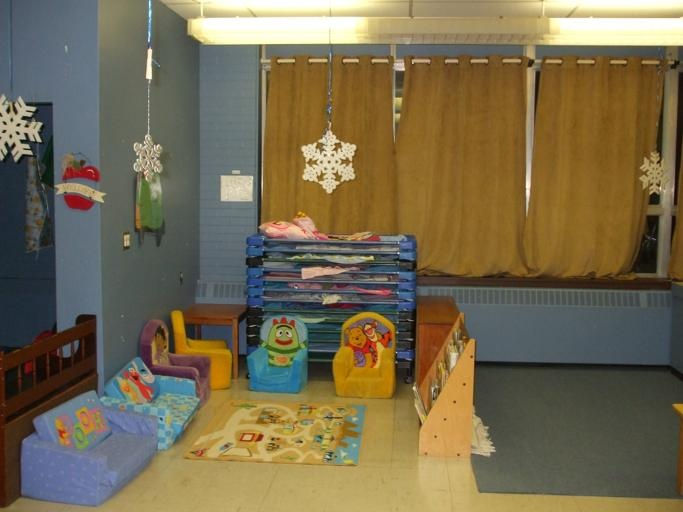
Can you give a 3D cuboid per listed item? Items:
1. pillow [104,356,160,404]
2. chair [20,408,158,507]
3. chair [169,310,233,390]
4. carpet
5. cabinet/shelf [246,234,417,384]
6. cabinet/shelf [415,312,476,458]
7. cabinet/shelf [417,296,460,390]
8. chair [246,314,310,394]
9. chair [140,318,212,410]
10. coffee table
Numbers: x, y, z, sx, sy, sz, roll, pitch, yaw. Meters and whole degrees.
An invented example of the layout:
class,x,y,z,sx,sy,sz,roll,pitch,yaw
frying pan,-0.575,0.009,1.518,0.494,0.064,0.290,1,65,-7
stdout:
class,x,y,z,sx,sy,sz,roll,pitch,yaw
pillow,-1.792,1.092,5.383,0.276,0.220,0.542,10,4,-2
chair,-1.876,1.467,4.698,0.687,0.439,0.761,5,14,18
chair,-1.394,0.907,6.536,0.711,0.942,0.668,-1,3,-11
carpet,-0.508,1.483,5.320,1.377,0.045,0.953,2,14,5
cabinet/shelf,-0.175,0.742,6.711,1.856,1.097,1.538,8,32,-4
cabinet/shelf,0.865,1.107,5.232,0.416,0.988,1.021,1,2,8
cabinet/shelf,0.874,0.812,5.679,0.234,0.623,0.692,0,5,3
chair,-0.585,0.979,6.383,0.664,0.868,0.642,1,2,6
chair,-1.604,0.976,6.103,0.673,1.009,0.706,-1,5,1
coffee table,-1.360,0.805,6.718,0.615,0.658,0.846,0,4,1
